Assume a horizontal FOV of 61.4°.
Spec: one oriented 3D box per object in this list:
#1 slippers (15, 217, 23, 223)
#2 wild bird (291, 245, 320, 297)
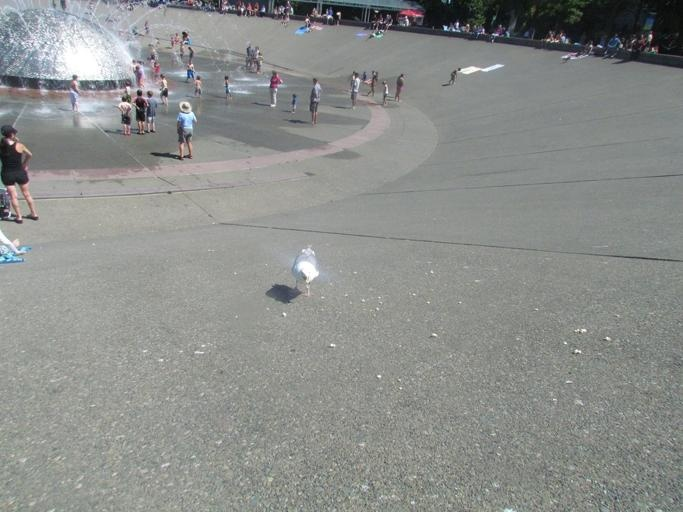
[{"bbox_3d":[-6.154,-0.683,10.947,0.199,0.089,0.073,15,24,38],"label":"slippers"},{"bbox_3d":[-0.563,0.235,9.198,0.421,0.659,1.179,0,22,-2],"label":"wild bird"}]
